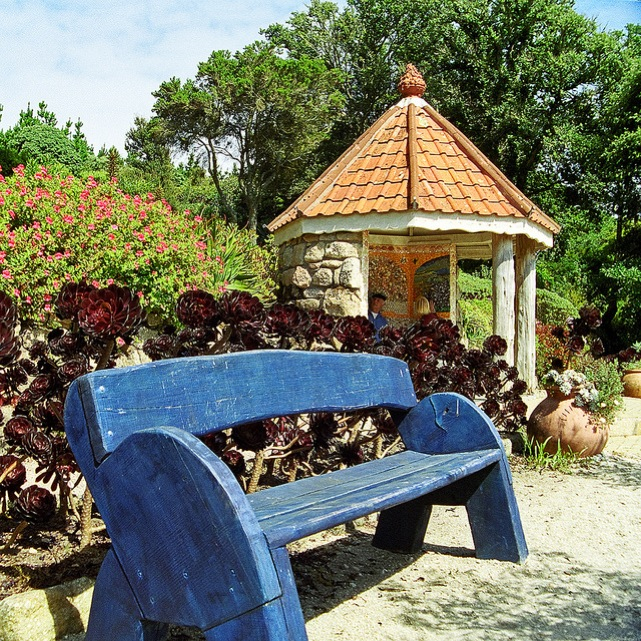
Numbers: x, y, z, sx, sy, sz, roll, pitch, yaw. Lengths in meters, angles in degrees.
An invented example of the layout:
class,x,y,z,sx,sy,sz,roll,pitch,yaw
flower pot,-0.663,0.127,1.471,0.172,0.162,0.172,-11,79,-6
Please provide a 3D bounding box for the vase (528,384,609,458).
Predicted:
class,x,y,z,sx,sy,sz,roll,pitch,yaw
vase,1.857,0.718,4.563,0.518,0.494,0.531,0,-8,30

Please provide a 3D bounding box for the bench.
class,x,y,z,sx,sy,sz,roll,pitch,yaw
bench,0.086,0.575,2.160,0.715,0.920,1.692,4,3,38

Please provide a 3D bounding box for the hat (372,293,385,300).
class,x,y,z,sx,sy,sz,roll,pitch,yaw
hat,0.718,-0.316,7.829,0.123,0.039,0.120,4,3,-40
